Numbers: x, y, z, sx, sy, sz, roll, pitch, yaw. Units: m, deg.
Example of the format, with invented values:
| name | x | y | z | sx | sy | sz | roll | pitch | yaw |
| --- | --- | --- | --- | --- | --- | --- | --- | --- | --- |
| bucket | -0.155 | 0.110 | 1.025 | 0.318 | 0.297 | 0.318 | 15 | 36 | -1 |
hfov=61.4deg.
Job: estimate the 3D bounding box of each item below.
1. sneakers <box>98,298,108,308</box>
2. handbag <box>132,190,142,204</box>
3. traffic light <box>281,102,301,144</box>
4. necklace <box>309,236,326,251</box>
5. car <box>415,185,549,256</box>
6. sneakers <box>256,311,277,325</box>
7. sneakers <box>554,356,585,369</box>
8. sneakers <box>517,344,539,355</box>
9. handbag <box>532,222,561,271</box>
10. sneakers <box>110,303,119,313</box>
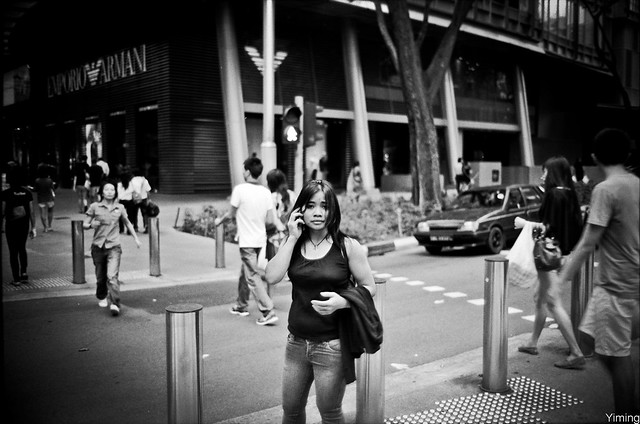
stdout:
| name | x | y | z | sx | sy | sz | roll | pitch | yaw |
| --- | --- | --- | --- | --- | --- | --- | --- | --- | --- |
| sneakers | -3.895 | 1.615 | 9.599 | 0.196 | 0.205 | 0.119 | 0 | 6 | -1 |
| handbag | -4.489 | -0.378 | 13.107 | 0.267 | 0.269 | 0.245 | 2 | 21 | 1 |
| traffic light | -0.750 | -2.297 | 14.152 | 0.542 | 1.029 | 0.400 | -2 | 3 | -4 |
| necklace | -0.039 | 0.295 | 4.997 | 0.111 | 0.119 | 0.046 | 2 | -17 | 10 |
| car | 4.676 | 0.062 | 14.965 | 1.887 | 1.324 | 3.330 | 1 | 4 | 45 |
| sneakers | -0.892 | 1.730 | 8.837 | 0.175 | 0.183 | 0.376 | -4 | 5 | -39 |
| sneakers | 3.173 | 1.897 | 6.838 | 0.385 | 0.163 | 0.147 | -2 | 3 | 13 |
| sneakers | 2.817 | 1.856 | 7.305 | 0.275 | 0.113 | 0.100 | 9 | 12 | 37 |
| handbag | 2.904 | 0.493 | 7.011 | 0.359 | 0.500 | 0.230 | -5 | -10 | -4 |
| sneakers | -3.508 | 1.648 | 9.194 | 0.123 | 0.125 | 0.154 | 38 | -18 | 6 |
